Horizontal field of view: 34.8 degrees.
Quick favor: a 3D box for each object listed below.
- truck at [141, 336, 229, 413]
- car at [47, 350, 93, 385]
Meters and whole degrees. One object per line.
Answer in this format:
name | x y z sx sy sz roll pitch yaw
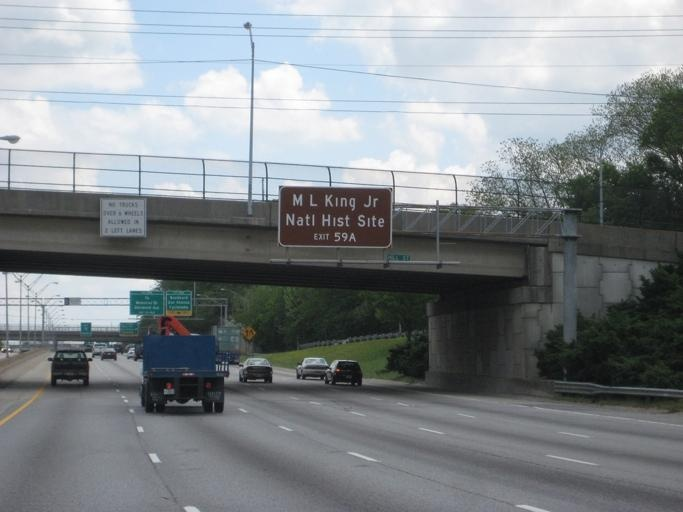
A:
truck | -6.288 4.819 42.718 2.805 2.310 4.895 4 -7 -19
car | -15.523 6.202 62.538 1.424 1.194 2.650 1 0 -7
